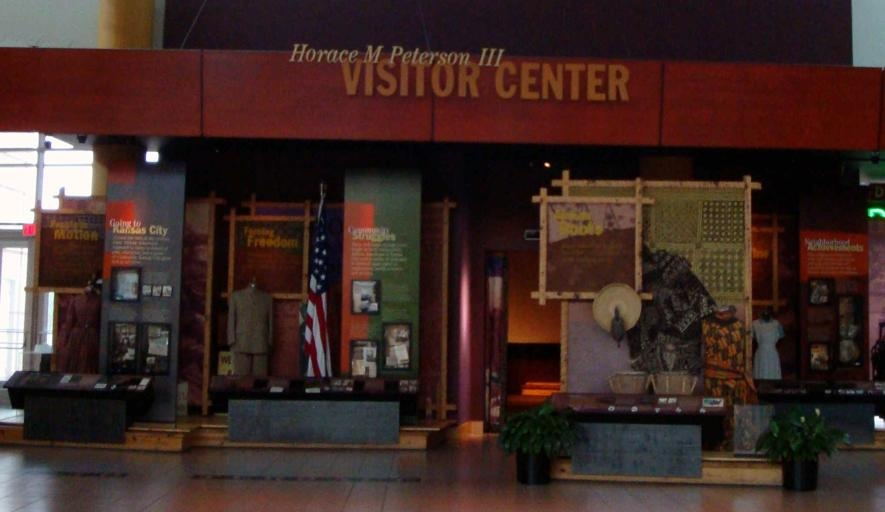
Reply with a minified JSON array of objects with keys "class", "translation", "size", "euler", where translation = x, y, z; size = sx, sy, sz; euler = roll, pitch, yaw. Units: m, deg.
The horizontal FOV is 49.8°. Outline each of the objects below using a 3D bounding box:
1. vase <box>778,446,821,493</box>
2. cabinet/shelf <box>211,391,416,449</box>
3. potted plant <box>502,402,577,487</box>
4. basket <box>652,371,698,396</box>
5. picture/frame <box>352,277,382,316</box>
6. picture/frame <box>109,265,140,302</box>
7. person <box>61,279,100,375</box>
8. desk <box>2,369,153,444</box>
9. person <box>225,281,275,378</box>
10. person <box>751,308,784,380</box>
[{"class":"vase","translation":[5.831,3.512,15.802],"size":[0.571,0.596,0.564],"euler":[-7,8,-28]},{"class":"cabinet/shelf","translation":[-2.316,2.944,17.228],"size":[3.019,0.904,0.271],"euler":[1,15,0]},{"class":"potted plant","translation":[1.632,3.137,15.961],"size":[1.264,1.204,1.248],"euler":[4,-8,-32]},{"class":"basket","translation":[3.952,2.170,16.260],"size":[0.559,0.264,0.386],"euler":[0,-4,10]},{"class":"picture/frame","translation":[-1.395,0.782,17.848],"size":[0.717,0.803,0.060],"euler":[0,-7,0]},{"class":"picture/frame","translation":[-5.892,0.533,17.783],"size":[0.662,0.725,0.093],"euler":[1,-3,-6]},{"class":"person","translation":[-6.929,1.327,18.344],"size":[0.737,1.700,0.612],"euler":[-3,15,-10]},{"class":"desk","translation":[-6.488,2.720,17.139],"size":[2.474,1.157,0.516],"euler":[1,15,2]},{"class":"person","translation":[-3.693,1.701,18.548],"size":[0.874,2.622,0.532],"euler":[-2,26,-14]},{"class":"person","translation":[6.251,1.839,18.521],"size":[0.624,1.753,0.475],"euler":[-2,29,15]}]
